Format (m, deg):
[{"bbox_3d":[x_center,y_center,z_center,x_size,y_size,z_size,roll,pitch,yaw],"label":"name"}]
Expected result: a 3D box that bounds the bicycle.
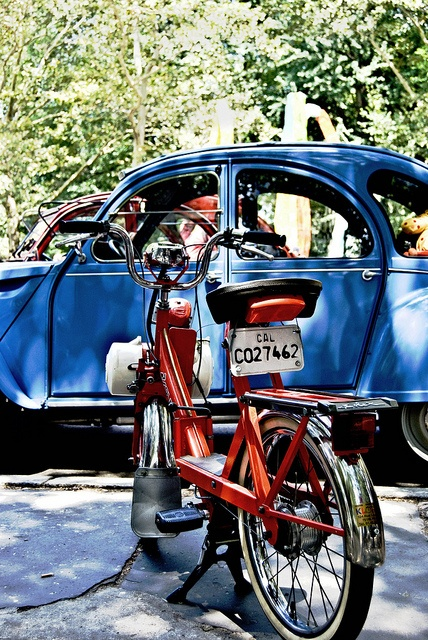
[{"bbox_3d":[-0.192,0.395,2.486,0.928,1.199,1.962,1,2,-26],"label":"bicycle"}]
